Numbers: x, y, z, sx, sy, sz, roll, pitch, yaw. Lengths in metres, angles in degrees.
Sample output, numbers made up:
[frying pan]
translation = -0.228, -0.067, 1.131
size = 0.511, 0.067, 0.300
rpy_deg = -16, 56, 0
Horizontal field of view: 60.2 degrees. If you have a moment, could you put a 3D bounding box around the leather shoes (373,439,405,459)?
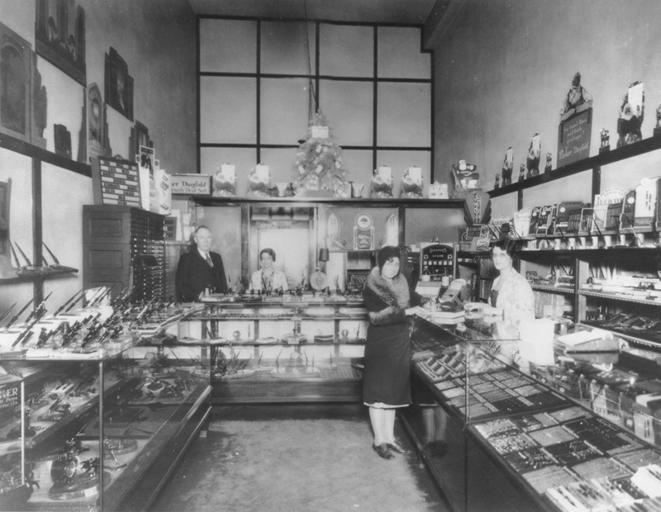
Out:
[leather shoes]
translation = 0.500, 1.680, 4.973
size = 0.128, 0.063, 0.174
rpy_deg = 3, -4, -38

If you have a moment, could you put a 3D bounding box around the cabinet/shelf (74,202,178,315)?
[cabinet/shelf]
translation = -1.757, 0.013, 4.774
size = 0.301, 0.968, 0.933
rpy_deg = -1, -2, 5

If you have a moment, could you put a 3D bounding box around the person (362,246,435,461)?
[person]
translation = 0.503, 0.816, 5.014
size = 0.425, 1.786, 0.522
rpy_deg = 1, 11, 3
